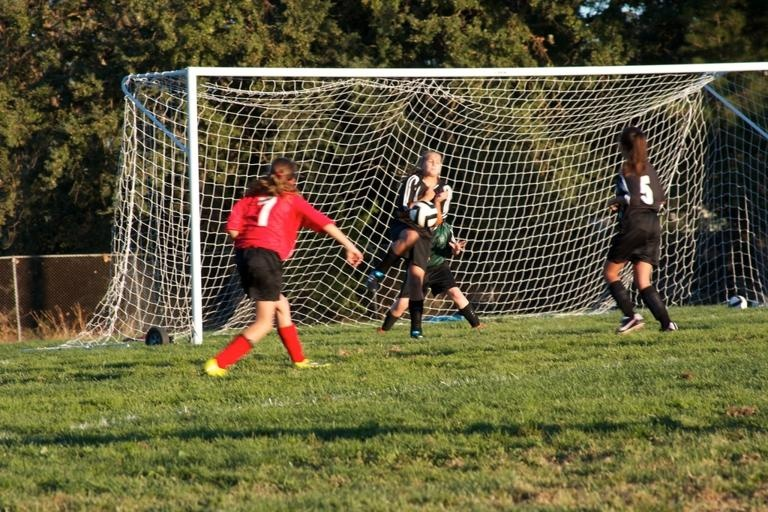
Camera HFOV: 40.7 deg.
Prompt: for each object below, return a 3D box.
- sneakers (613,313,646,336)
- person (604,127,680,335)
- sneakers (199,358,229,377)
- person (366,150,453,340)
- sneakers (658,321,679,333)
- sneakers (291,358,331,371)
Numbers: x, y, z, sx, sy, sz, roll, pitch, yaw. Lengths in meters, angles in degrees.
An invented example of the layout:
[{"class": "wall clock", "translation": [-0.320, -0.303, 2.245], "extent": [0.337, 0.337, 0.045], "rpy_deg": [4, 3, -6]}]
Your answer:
[{"class": "sneakers", "translation": [4.059, 1.176, 17.096], "extent": [0.566, 0.239, 0.246], "rpy_deg": [-30, 6, 24]}, {"class": "person", "translation": [4.085, -0.346, 16.730], "extent": [1.017, 3.394, 0.632], "rpy_deg": [0, 15, 14]}, {"class": "sneakers", "translation": [-2.510, 1.725, 15.304], "extent": [0.332, 0.253, 0.260], "rpy_deg": [-9, -45, 15]}, {"class": "person", "translation": [0.470, -0.134, 17.356], "extent": [1.410, 3.109, 0.667], "rpy_deg": [-6, 15, -9]}, {"class": "sneakers", "translation": [4.667, 1.185, 16.882], "extent": [0.254, 0.129, 0.160], "rpy_deg": [-2, 3, 6]}, {"class": "sneakers", "translation": [-1.120, 1.683, 15.792], "extent": [0.578, 0.245, 0.195], "rpy_deg": [-5, 1, 5]}]
